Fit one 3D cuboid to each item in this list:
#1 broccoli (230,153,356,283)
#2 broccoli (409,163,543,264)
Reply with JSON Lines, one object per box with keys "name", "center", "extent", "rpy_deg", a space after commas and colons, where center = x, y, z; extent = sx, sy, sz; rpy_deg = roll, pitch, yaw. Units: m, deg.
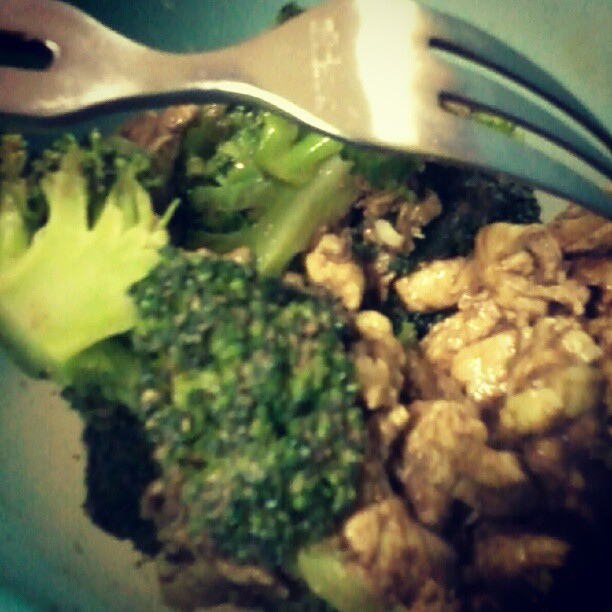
{"name": "broccoli", "center": [-0.038, -0.225, 2.454], "extent": [0.218, 0.115, 0.425], "rpy_deg": [25, 83, 1]}
{"name": "broccoli", "center": [0.537, -0.281, 2.476], "extent": [0.263, 0.250, 0.097], "rpy_deg": [14, 107, -17]}
